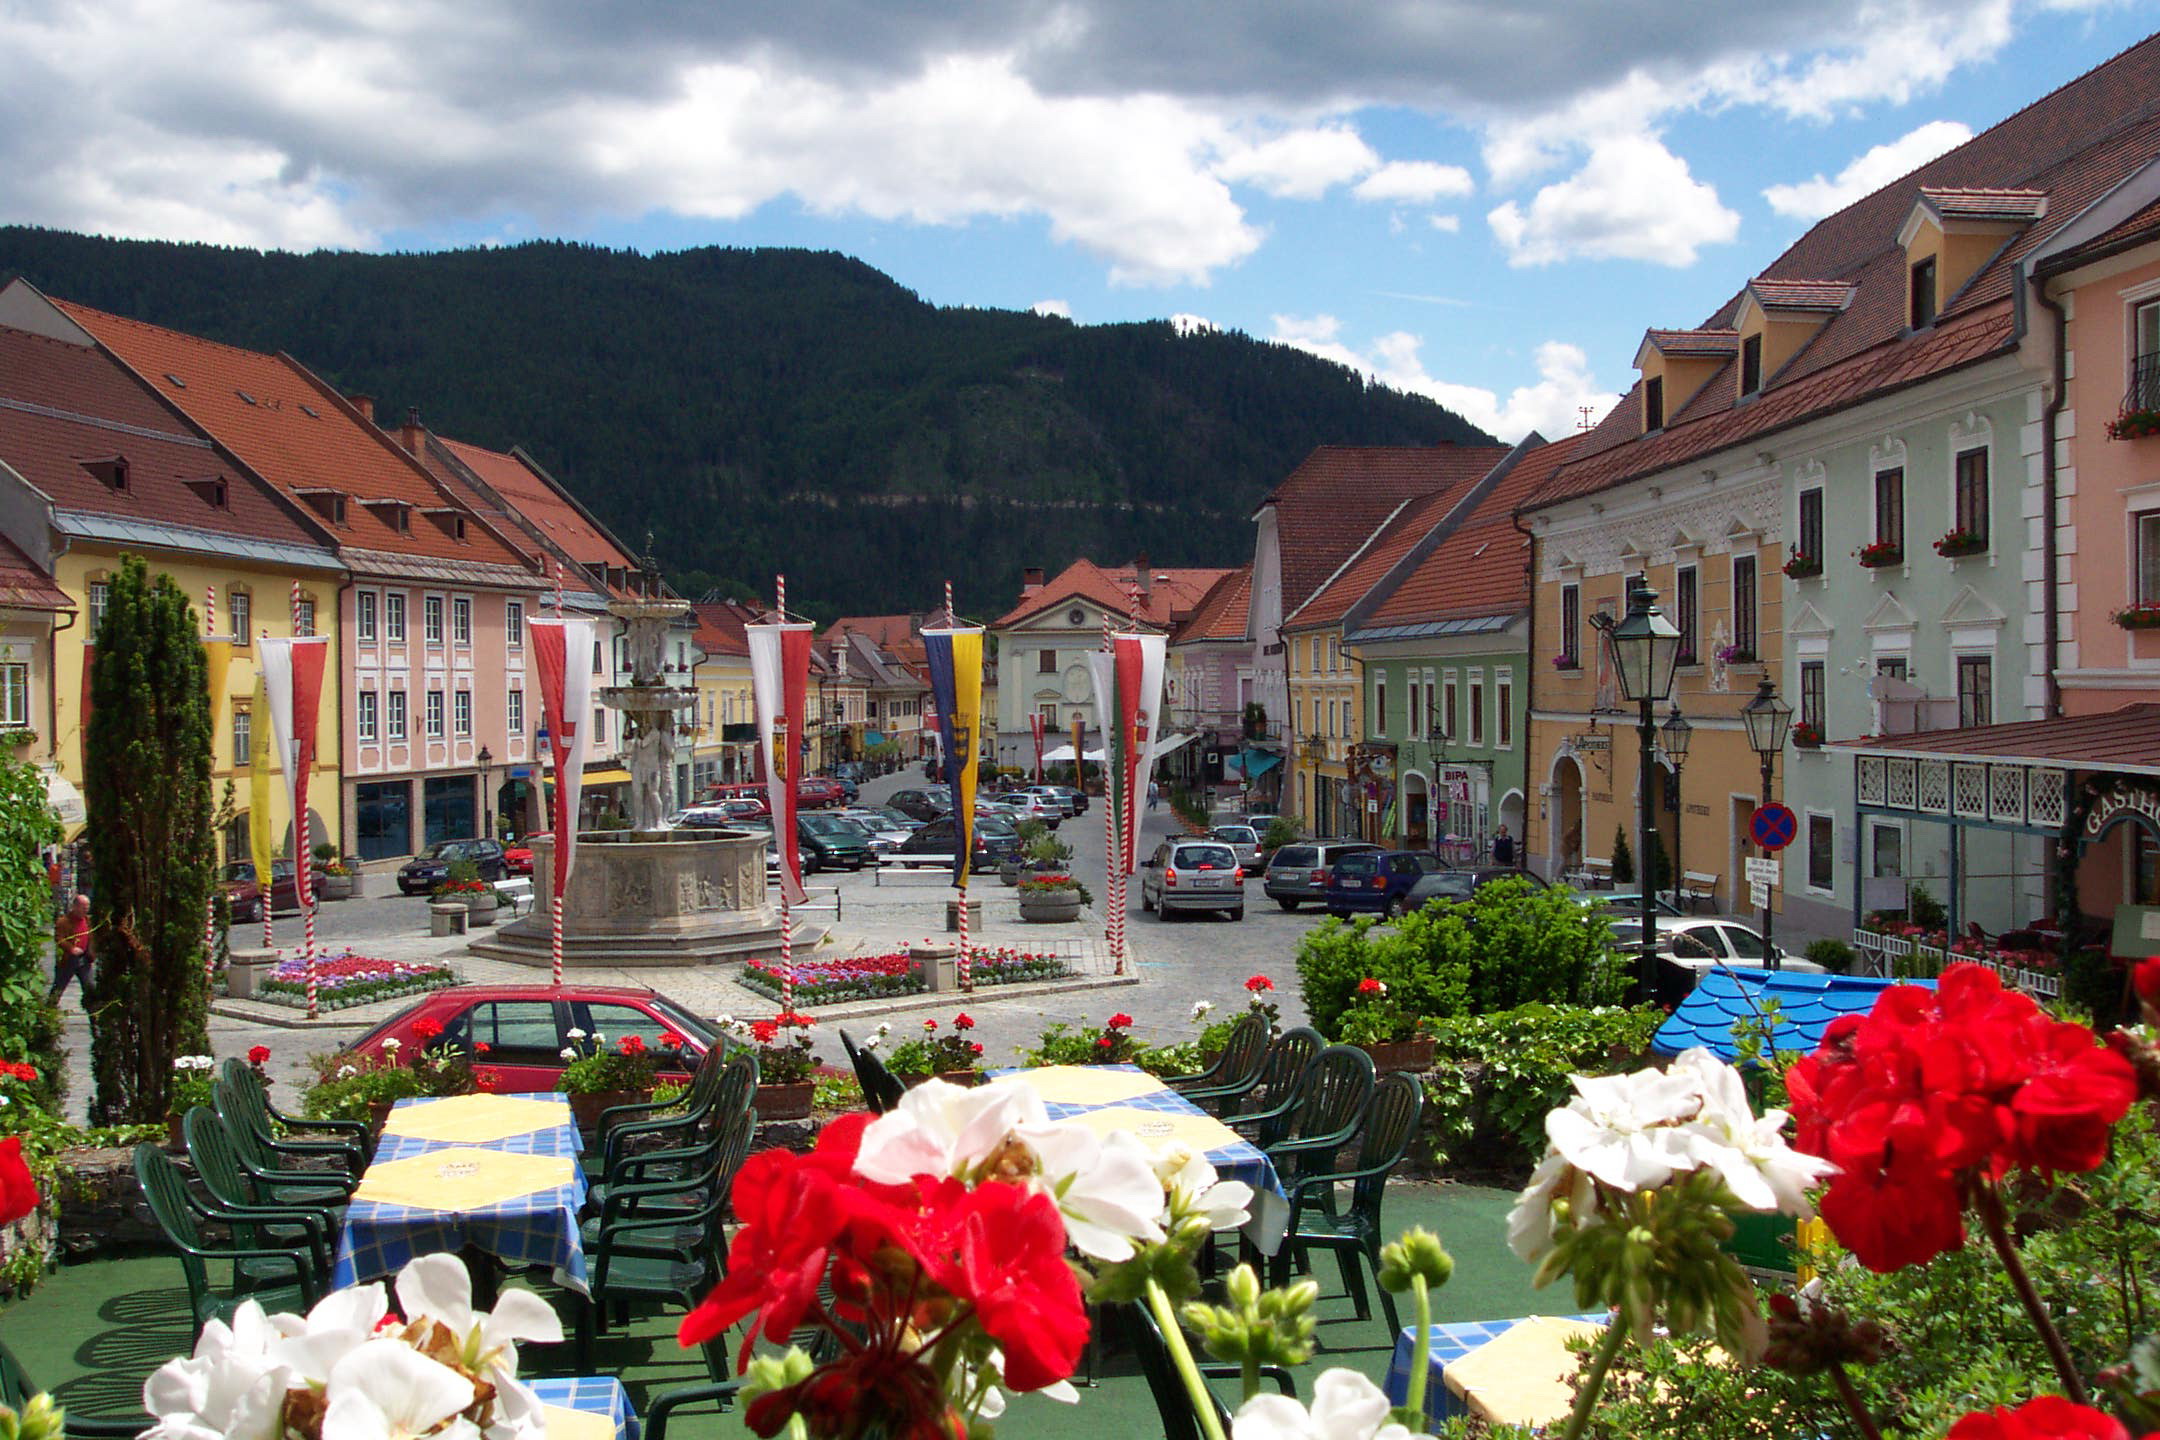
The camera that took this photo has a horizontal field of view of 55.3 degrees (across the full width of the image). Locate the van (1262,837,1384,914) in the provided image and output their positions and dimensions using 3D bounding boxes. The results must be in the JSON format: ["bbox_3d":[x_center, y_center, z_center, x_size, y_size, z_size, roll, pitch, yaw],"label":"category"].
[{"bbox_3d":[4.552,3.075,40.498,1.012,0.849,2.248,0,5,30],"label":"van"}]

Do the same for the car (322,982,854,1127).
[{"bbox_3d":[-4.151,3.188,17.369,3.716,1.153,1.638,0,0,-10],"label":"car"}]

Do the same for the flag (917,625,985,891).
[{"bbox_3d":[-1.462,0.459,24.346,0.843,3.437,0.250,1,-1,32],"label":"flag"}]

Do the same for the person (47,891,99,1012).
[{"bbox_3d":[-11.903,2.822,24.646,0.558,1.401,0.559,5,7,-18],"label":"person"}]

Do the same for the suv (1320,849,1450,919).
[{"bbox_3d":[5.504,3.178,38.207,1.194,0.886,2.434,0,6,37],"label":"suv"}]
